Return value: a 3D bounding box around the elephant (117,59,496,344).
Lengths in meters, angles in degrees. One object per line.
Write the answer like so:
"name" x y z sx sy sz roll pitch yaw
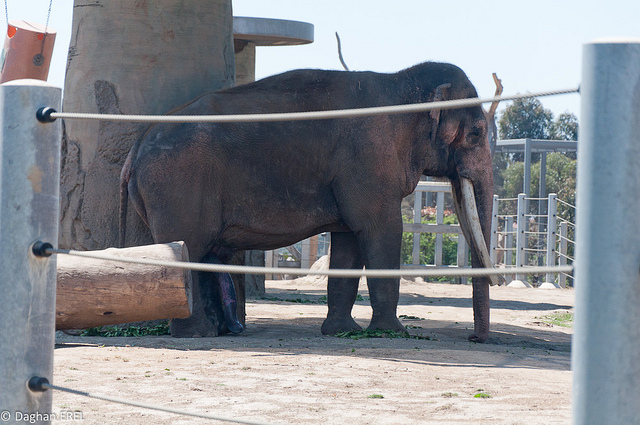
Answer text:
"elephant" 0.056 -0.156 12.811 3.714 2.613 1.271 1 5 -8

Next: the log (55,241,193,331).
"log" -1.711 0.602 11.621 1.385 0.580 0.660 -4 10 19
